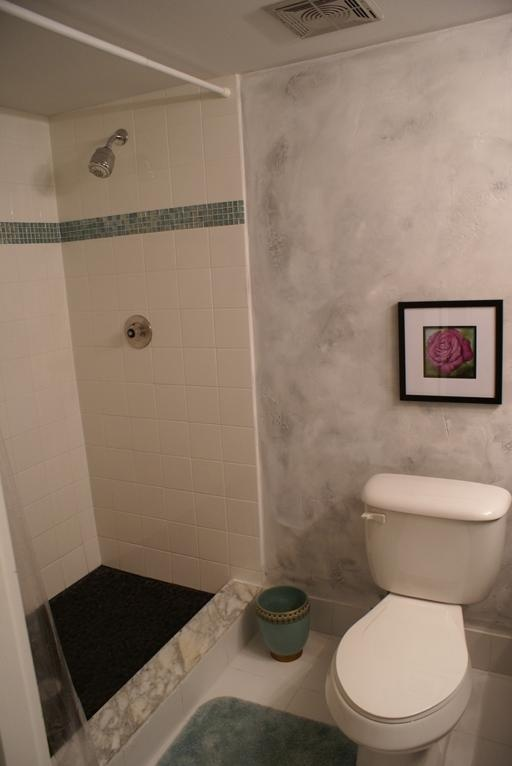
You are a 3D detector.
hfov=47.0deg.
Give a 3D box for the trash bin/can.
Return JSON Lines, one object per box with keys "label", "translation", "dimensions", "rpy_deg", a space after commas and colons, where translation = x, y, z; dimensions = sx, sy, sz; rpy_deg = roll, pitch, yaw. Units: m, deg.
{"label": "trash bin/can", "translation": [0.104, 0.843, 2.110], "dimensions": [0.210, 0.250, 0.224], "rpy_deg": [-1, 10, 6]}
